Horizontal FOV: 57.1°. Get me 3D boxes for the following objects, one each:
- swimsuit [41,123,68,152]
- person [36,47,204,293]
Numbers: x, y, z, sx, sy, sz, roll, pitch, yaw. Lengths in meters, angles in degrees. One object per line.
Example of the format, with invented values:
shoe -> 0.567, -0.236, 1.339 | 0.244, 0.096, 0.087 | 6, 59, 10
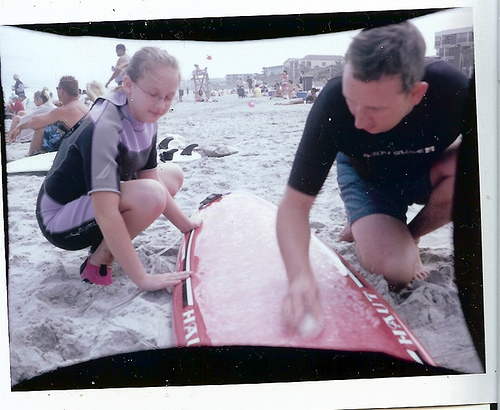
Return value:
swimsuit -> -0.930, -0.315, 2.193 | 0.029, 0.135, 0.076 | 8, -14, 11
person -> -0.558, -0.180, 2.346 | 0.901, 1.170, 0.628 | -4, 13, -30
